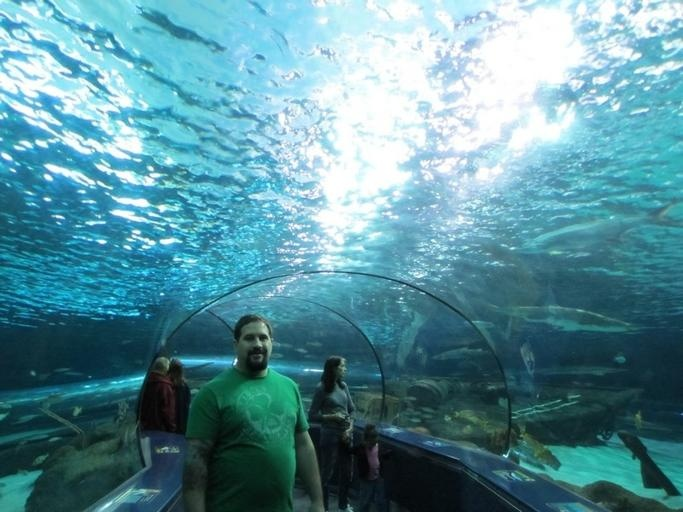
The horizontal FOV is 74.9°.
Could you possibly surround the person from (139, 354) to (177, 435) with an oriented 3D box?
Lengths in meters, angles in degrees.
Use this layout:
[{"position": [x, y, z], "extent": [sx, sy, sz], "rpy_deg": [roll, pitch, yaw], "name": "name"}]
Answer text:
[{"position": [-4.351, 3.410, 10.908], "extent": [0.898, 1.776, 0.612], "rpy_deg": [7, -22, -23], "name": "person"}]
